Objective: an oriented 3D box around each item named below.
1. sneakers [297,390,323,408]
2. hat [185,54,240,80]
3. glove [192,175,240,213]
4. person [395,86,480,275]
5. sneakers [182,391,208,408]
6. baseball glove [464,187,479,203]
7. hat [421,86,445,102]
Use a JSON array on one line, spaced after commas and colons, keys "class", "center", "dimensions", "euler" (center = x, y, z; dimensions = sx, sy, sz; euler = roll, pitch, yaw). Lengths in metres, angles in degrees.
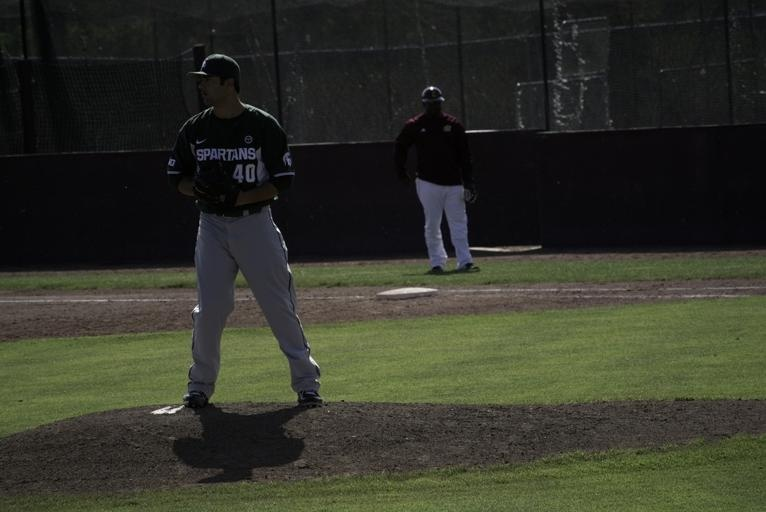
[{"class": "sneakers", "center": [-0.782, 1.517, 13.289], "dimensions": [0.261, 0.158, 0.177], "euler": [-4, 7, -5]}, {"class": "hat", "center": [-1.798, -2.025, 13.345], "dimensions": [0.461, 0.201, 0.314], "euler": [7, 9, -9]}, {"class": "glove", "center": [-1.763, -0.651, 13.199], "dimensions": [0.476, 0.395, 0.127], "euler": [-3, 7, 3]}, {"class": "person", "center": [0.880, -1.250, 20.605], "dimensions": [1.182, 3.035, 0.584], "euler": [-4, 7, 4]}, {"class": "sneakers", "center": [-1.996, 1.524, 13.304], "dimensions": [0.262, 0.169, 0.163], "euler": [-5, 7, -10]}, {"class": "baseball glove", "center": [1.491, -1.059, 21.023], "dimensions": [0.283, 0.263, 0.334], "euler": [0, -5, -27]}, {"class": "hat", "center": [0.814, -2.666, 20.586], "dimensions": [0.292, 0.240, 0.427], "euler": [-3, 7, 8]}]
